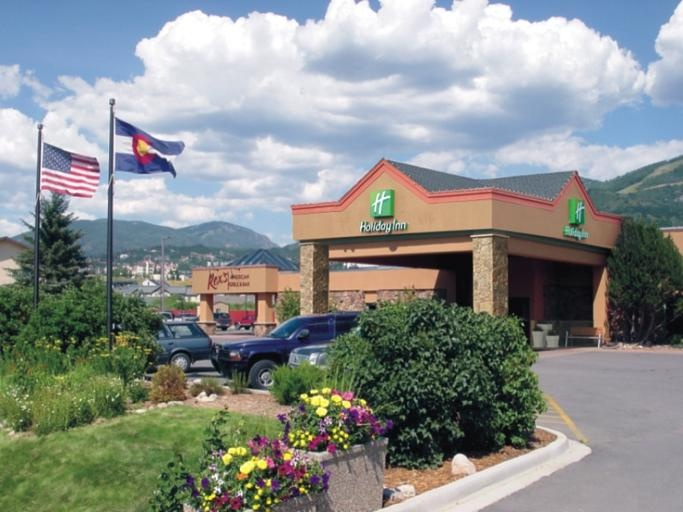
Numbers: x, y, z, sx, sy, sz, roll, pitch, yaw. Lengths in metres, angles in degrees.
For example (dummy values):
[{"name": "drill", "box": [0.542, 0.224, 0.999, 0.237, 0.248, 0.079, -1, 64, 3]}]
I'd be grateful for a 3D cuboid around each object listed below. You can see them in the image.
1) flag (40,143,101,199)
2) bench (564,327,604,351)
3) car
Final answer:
[{"name": "flag", "box": [-9.694, -3.087, 24.247, 2.134, 2.018, 0.477, 0, -7, 5]}, {"name": "bench", "box": [12.699, 4.188, 36.143, 1.881, 1.080, 1.525, -4, -9, 30]}, {"name": "car", "box": [-1.608, 2.609, 20.559, 4.124, 1.866, 2.352, 2, -7, -29]}]
